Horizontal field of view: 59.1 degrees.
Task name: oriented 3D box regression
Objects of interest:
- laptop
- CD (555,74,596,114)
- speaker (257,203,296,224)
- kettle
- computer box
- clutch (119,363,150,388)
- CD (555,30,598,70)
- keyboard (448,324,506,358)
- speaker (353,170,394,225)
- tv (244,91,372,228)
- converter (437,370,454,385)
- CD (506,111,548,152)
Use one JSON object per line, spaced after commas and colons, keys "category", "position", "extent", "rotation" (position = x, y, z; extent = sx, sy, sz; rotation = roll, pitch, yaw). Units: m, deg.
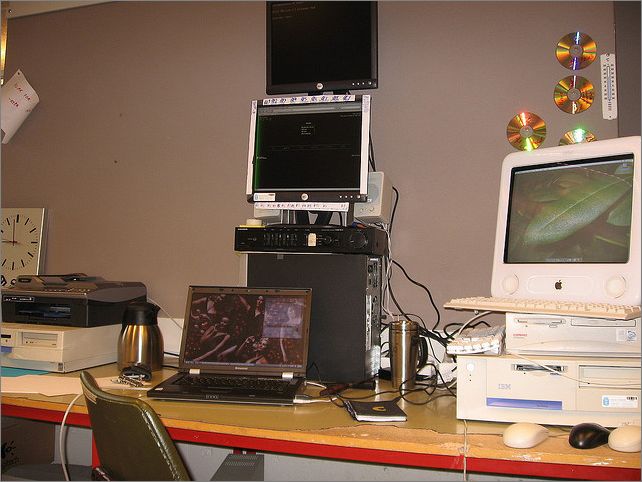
{"category": "laptop", "position": [-0.314, 0.378, 2.255], "extent": [0.610, 0.407, 0.541], "rotation": [0, -5, 8]}
{"category": "CD", "position": [1.100, -0.628, 2.442], "extent": [0.162, 0.165, 0.015], "rotation": [1, -4, 11]}
{"category": "speaker", "position": [-0.202, -0.126, 2.464], "extent": [0.202, 0.109, 0.112], "rotation": [0, 3, -42]}
{"category": "kettle", "position": [-0.764, 0.393, 2.452], "extent": [0.139, 0.302, 0.185], "rotation": [-1, -4, 26]}
{"category": "computer box", "position": [-0.083, 0.187, 2.568], "extent": [0.790, 0.739, 0.461], "rotation": [2, 2, 14]}
{"category": "clutch", "position": [-0.738, 0.529, 2.230], "extent": [0.106, 0.077, 0.045], "rotation": [5, -37, -16]}
{"category": "CD", "position": [1.115, -0.820, 2.445], "extent": [0.173, 0.174, 0.019], "rotation": [7, 5, 20]}
{"category": "keyboard", "position": [0.569, 0.354, 2.044], "extent": [0.186, 0.094, 0.316], "rotation": [1, -4, 18]}
{"category": "speaker", "position": [0.232, -0.182, 2.464], "extent": [0.120, 0.227, 0.148], "rotation": [7, 3, 25]}
{"category": "tv", "position": [-0.050, -0.341, 2.394], "extent": [0.596, 0.603, 0.218], "rotation": [0, -6, 12]}
{"category": "converter", "position": [0.511, 0.557, 2.313], "extent": [0.037, 0.028, 0.097], "rotation": [-5, -5, 30]}
{"category": "CD", "position": [0.909, -0.475, 2.473], "extent": [0.191, 0.222, 0.057], "rotation": [3, 4, 14]}
